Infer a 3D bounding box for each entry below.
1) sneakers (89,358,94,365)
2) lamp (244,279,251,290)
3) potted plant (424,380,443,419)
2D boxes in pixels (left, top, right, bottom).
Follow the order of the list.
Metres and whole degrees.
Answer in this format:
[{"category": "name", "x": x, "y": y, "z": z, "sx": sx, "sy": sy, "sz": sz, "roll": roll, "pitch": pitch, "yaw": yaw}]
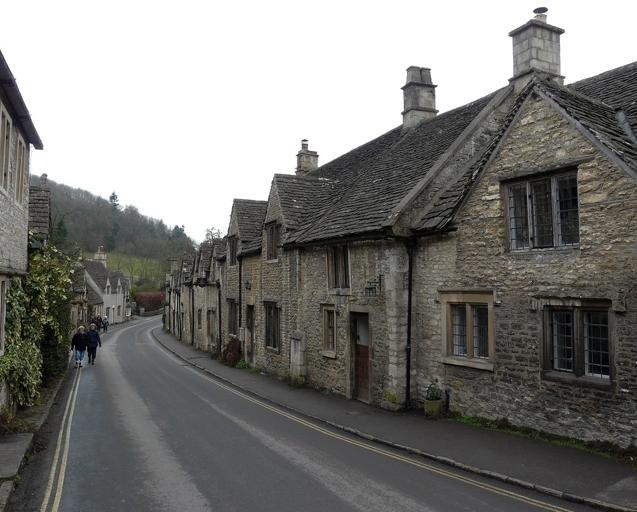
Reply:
[{"category": "sneakers", "x": -10.466, "y": 4.915, "z": 25.848, "sx": 0.172, "sy": 0.262, "sz": 0.586, "roll": 4, "pitch": -16, "yaw": -30}, {"category": "lamp", "x": -3.206, "y": 1.292, "z": 25.575, "sx": 0.336, "sy": 0.513, "sz": 0.390, "roll": -3, "pitch": -5, "yaw": 24}, {"category": "potted plant", "x": 2.958, "y": 3.759, "z": 14.527, "sx": 0.610, "sy": 1.236, "sz": 0.714, "roll": 0, "pitch": -5, "yaw": 15}]
